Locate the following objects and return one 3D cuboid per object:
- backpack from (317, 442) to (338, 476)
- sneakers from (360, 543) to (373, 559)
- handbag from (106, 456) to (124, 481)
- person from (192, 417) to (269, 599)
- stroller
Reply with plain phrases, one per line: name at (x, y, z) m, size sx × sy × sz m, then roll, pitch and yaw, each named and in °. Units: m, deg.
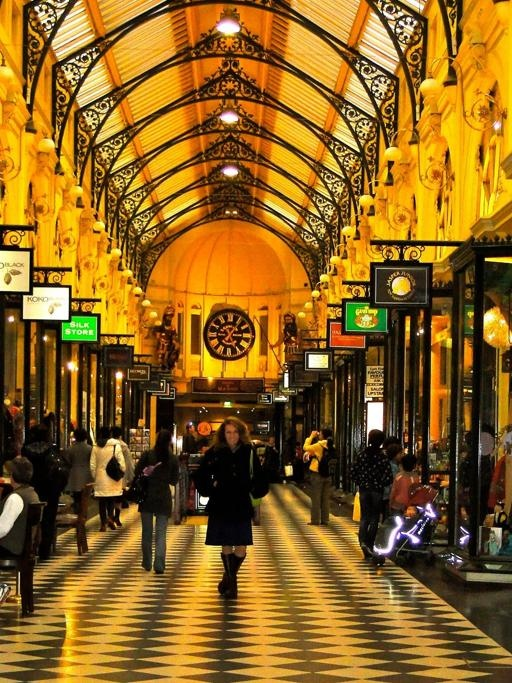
backpack at (1.574, 2.607, 15.681) m, size 0.223 × 0.753 × 0.675 m, roll -3°, pitch -7°, yaw 27°
sneakers at (1.684, 3.164, 10.738) m, size 0.107 × 0.298 × 0.210 m, roll -21°, pitch 2°, yaw 4°
handbag at (-2.641, 2.373, 13.279) m, size 0.238 × 0.484 × 0.349 m, roll -5°, pitch -17°, yaw 15°
person at (-0.229, 1.596, 6.720) m, size 0.692 × 1.707 × 0.465 m, roll 0°, pitch -6°, yaw 0°
stroller at (2.094, 2.518, 9.841) m, size 1.135 × 1.337 × 0.831 m, roll 0°, pitch -4°, yaw 3°
